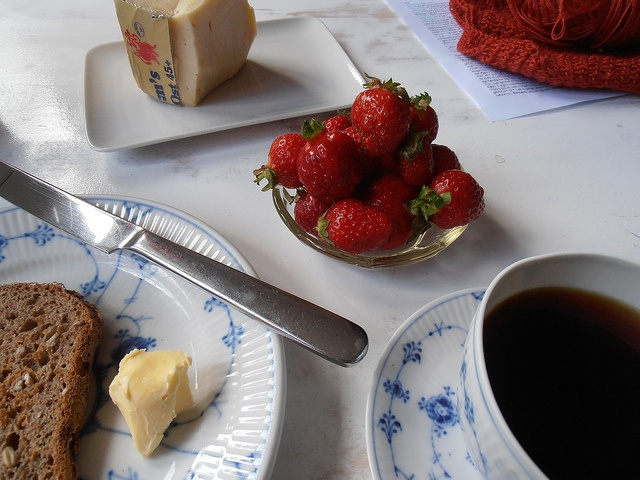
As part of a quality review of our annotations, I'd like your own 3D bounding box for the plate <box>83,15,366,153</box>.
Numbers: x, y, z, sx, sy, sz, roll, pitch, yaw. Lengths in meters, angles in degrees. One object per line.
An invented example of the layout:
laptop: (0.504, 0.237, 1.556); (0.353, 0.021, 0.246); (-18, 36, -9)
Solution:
plate: (-0.187, -0.279, 1.112); (0.400, 0.064, 0.334); (-14, 49, -11)
